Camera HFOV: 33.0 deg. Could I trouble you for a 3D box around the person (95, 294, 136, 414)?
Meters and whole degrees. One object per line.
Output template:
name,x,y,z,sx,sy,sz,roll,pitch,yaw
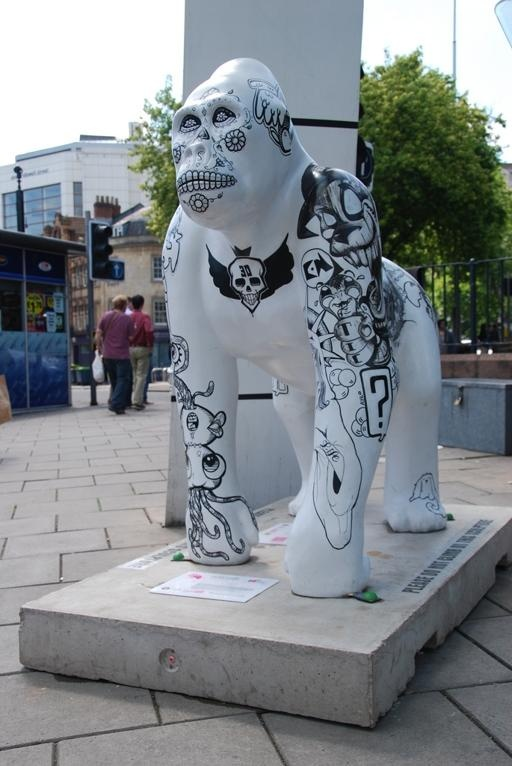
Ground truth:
person,-1.796,-0.345,11.043,0.448,1.521,0.847,-1,5,-11

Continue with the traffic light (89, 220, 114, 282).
traffic light,-2.026,-1.736,11.300,0.299,0.784,0.524,-1,4,-11
